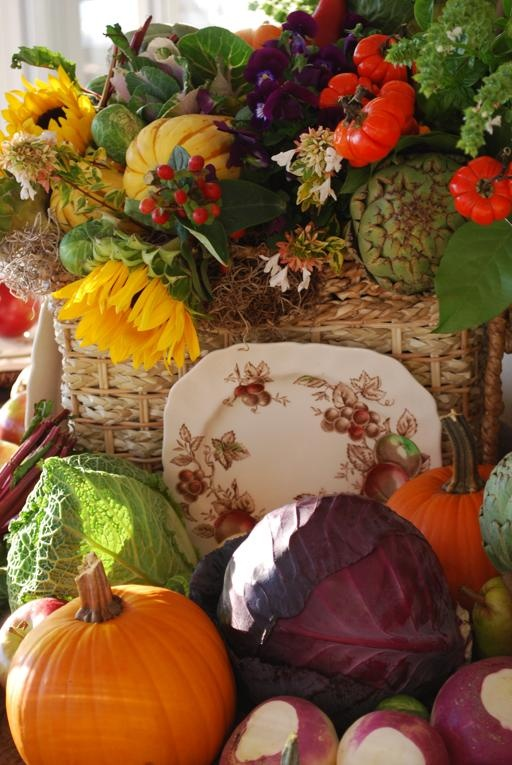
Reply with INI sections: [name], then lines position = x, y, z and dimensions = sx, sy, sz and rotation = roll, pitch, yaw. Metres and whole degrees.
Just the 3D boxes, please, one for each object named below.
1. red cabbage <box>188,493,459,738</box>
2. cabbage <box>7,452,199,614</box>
[red cabbage]
position = 0.065, 0.156, 0.539
dimensions = 0.203, 0.131, 0.161
rotation = 17, 11, 3
[cabbage]
position = -0.143, 0.145, 0.722
dimensions = 0.161, 0.124, 0.186
rotation = -35, -10, -7
